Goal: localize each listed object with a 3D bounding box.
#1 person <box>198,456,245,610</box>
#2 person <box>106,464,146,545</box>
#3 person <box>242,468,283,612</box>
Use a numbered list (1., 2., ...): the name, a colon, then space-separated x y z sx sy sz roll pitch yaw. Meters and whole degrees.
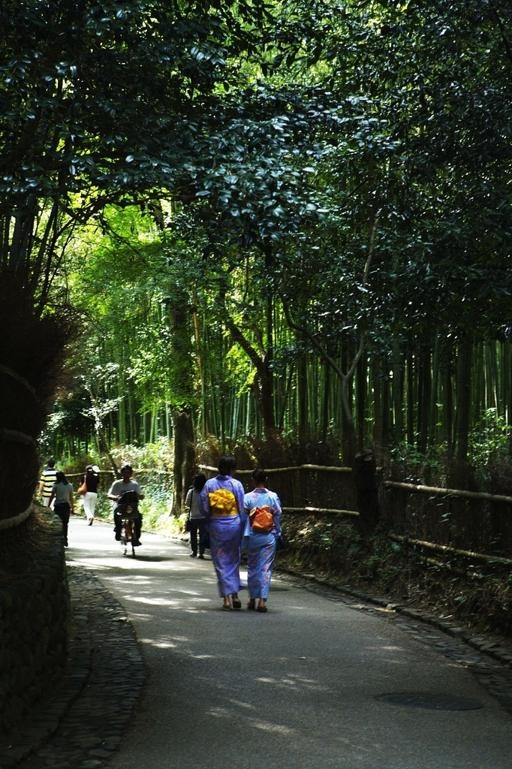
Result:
1. person: -0.379 1.614 8.241 0.488 1.606 0.589 1 -10 -1
2. person: -2.597 2.341 14.731 0.637 1.483 0.896 -2 2 -9
3. person: 0.055 1.683 8.259 0.403 1.487 0.809 0 -10 1
